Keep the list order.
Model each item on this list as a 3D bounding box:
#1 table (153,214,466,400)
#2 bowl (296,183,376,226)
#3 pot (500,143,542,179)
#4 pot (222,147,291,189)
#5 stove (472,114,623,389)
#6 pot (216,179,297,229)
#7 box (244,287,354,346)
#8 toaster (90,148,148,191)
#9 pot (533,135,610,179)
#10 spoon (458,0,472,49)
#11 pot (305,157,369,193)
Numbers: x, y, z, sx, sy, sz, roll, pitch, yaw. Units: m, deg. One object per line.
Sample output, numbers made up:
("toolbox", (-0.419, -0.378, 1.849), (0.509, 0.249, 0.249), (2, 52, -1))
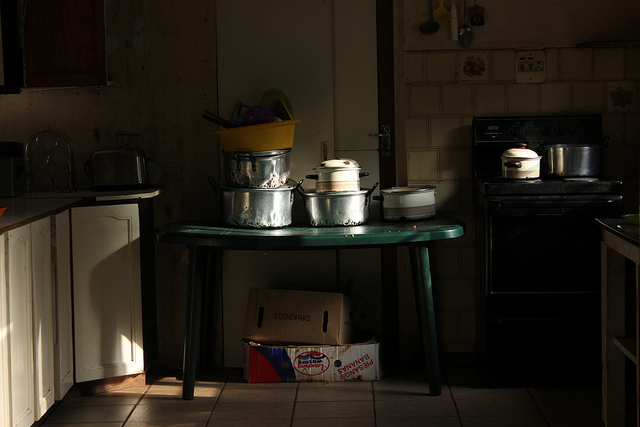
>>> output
("table", (-0.074, 0.594, 4.089), (1.981, 1.152, 1.038), (4, 17, 29))
("bowl", (0.096, -0.023, 3.772), (0.391, 0.206, 0.251), (0, -2, 0))
("pot", (1.295, -0.332, 3.939), (0.293, 0.251, 0.301), (-2, 5, 0))
("pot", (-0.406, -0.304, 3.888), (0.428, 0.238, 0.513), (5, 13, 18))
("stove", (1.441, 0.187, 4.001), (0.939, 1.546, 0.911), (-4, 13, -3))
("pot", (-0.399, -0.067, 3.953), (0.555, 0.308, 0.548), (1, 4, 0))
("box", (-0.323, 0.737, 4.147), (0.761, 0.398, 0.538), (10, -17, -37))
("toaster", (-1.293, -0.266, 4.002), (0.411, 0.322, 0.231), (-1, 2, -1))
("pot", (1.607, -0.328, 3.982), (0.342, 0.180, 0.218), (0, 1, -1))
("spoon", (0.951, -1.245, 4.041), (0.075, 0.313, 0.061), (-9, 11, -36))
("pot", (0.109, -0.235, 3.942), (0.390, 0.235, 0.328), (-1, 2, 29))
